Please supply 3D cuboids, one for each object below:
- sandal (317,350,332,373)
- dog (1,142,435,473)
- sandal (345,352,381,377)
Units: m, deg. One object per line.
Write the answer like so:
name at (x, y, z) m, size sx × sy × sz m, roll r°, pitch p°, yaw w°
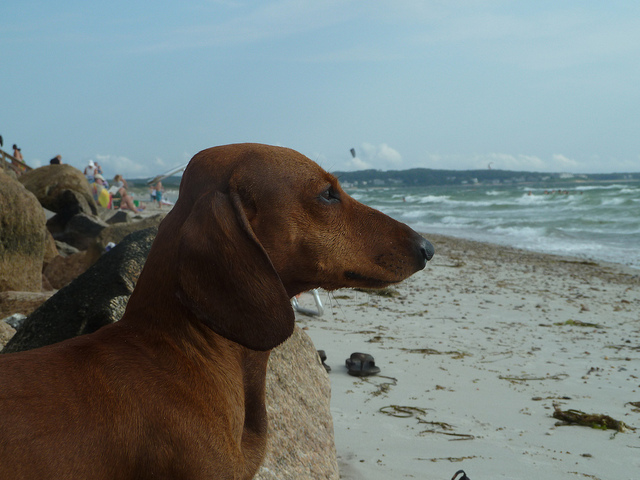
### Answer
sandal at (0.041, 1.437, 7.507) m, size 0.115 × 0.356 × 0.144 m, roll 16°, pitch -42°, yaw -39°
dog at (-0.586, 0.326, 3.210) m, size 1.945 × 1.664 × 0.751 m, roll -3°, pitch 10°, yaw -37°
sandal at (0.512, 1.480, 7.403) m, size 0.327 × 0.148 × 0.254 m, roll 0°, pitch 6°, yaw 13°
